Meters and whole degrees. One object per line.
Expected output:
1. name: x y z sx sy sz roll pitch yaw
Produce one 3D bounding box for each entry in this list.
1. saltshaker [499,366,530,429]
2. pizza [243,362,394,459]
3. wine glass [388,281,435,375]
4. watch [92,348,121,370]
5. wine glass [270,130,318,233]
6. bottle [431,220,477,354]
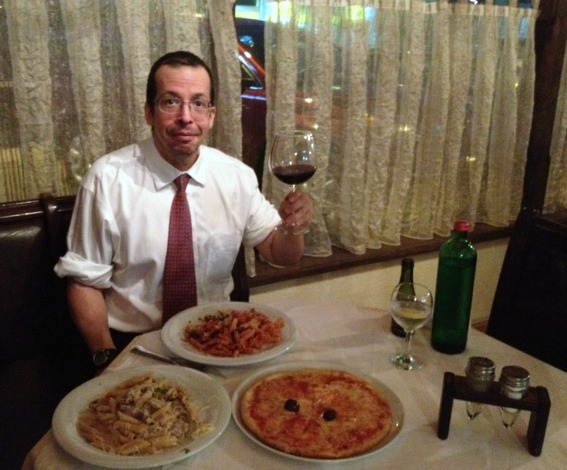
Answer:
1. saltshaker: 0.485 0.350 0.961 0.057 0.141 0.071 13 22 34
2. pizza: 0.074 0.381 1.011 0.332 0.022 0.272 2 19 5
3. wine glass: 0.334 0.241 1.204 0.100 0.223 0.104 4 15 17
4. watch: -0.520 0.365 1.333 0.078 0.057 0.086 17 -12 -24
5. wine glass: 0.039 -0.220 1.423 0.118 0.206 0.145 14 23 37
6. bottle: 0.459 0.158 1.222 0.095 0.405 0.119 1 8 -4
